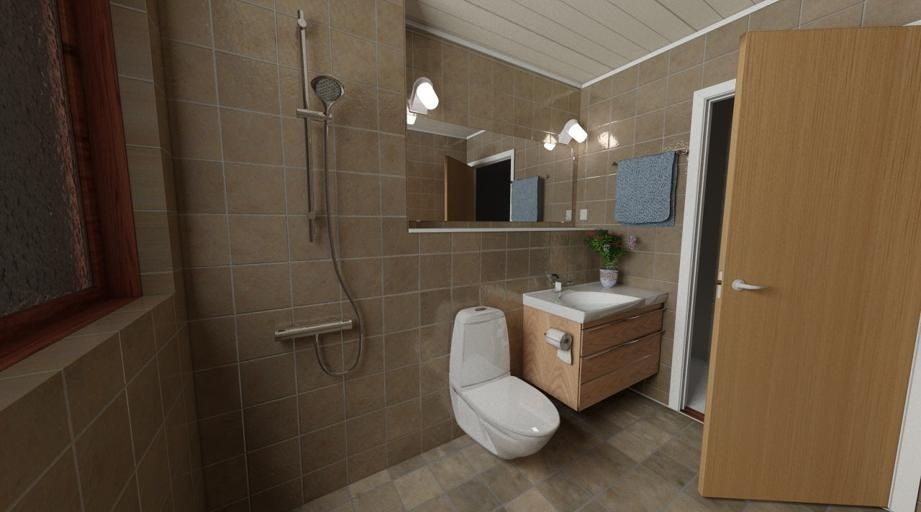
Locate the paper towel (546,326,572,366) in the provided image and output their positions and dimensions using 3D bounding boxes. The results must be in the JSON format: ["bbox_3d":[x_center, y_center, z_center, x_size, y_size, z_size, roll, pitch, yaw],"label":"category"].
[{"bbox_3d":[0.705,0.661,4.035,0.113,0.271,0.174,-16,21,-33],"label":"paper towel"}]

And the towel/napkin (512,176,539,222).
[{"bbox_3d":[0.532,-0.450,4.482,0.338,0.326,0.086,0,5,-24],"label":"towel/napkin"}]

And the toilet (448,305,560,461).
[{"bbox_3d":[0.329,0.929,3.892,0.565,0.953,0.895,-13,23,-36],"label":"toilet"}]

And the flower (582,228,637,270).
[{"bbox_3d":[1.225,-0.050,4.595,0.231,0.331,0.342,-9,12,-38],"label":"flower"}]

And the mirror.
[{"bbox_3d":[0.251,-0.621,4.305,1.582,0.874,0.153,-8,11,-34],"label":"mirror"}]

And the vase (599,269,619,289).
[{"bbox_3d":[1.198,0.190,4.517,0.157,0.125,0.148,2,5,19],"label":"vase"}]

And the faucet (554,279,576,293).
[{"bbox_3d":[0.815,0.239,4.448,0.153,0.046,0.099,-6,14,-24],"label":"faucet"}]

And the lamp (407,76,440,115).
[{"bbox_3d":[-0.265,-1.112,3.888,0.168,0.227,0.128,-10,12,-42],"label":"lamp"}]

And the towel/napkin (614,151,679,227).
[{"bbox_3d":[1.477,-0.530,4.379,0.073,0.646,0.607,-6,9,-43],"label":"towel/napkin"}]
